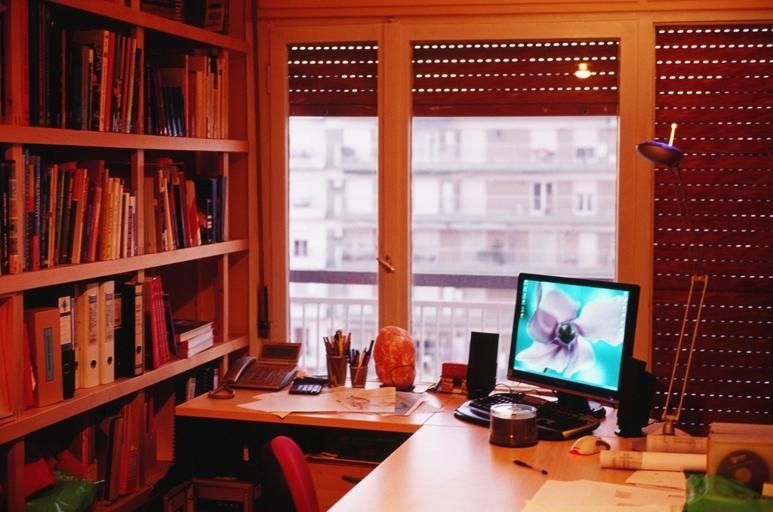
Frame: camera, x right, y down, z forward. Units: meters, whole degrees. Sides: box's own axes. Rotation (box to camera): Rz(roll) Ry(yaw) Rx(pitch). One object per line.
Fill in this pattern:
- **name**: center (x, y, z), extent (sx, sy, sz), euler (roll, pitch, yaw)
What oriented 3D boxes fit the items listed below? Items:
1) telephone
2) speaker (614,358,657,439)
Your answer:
- **telephone**: center (-0.609, 0.570, 3.532), extent (0.261, 0.148, 0.255), euler (-1, 4, 18)
- **speaker**: center (1.061, 0.600, 2.982), extent (0.171, 0.333, 0.116), euler (0, 6, -11)
